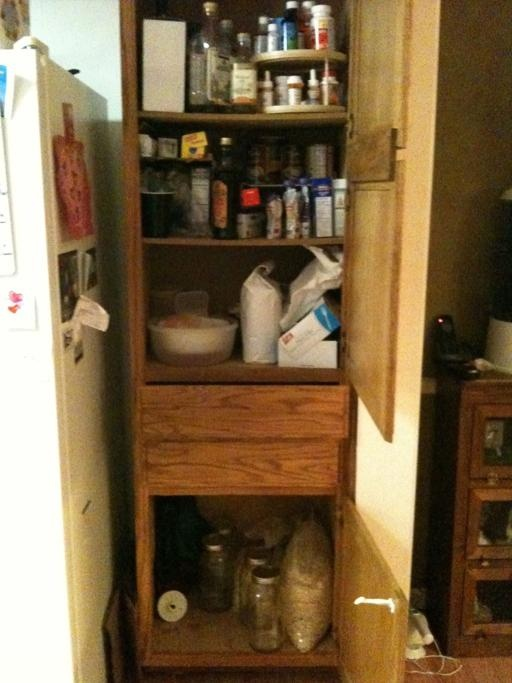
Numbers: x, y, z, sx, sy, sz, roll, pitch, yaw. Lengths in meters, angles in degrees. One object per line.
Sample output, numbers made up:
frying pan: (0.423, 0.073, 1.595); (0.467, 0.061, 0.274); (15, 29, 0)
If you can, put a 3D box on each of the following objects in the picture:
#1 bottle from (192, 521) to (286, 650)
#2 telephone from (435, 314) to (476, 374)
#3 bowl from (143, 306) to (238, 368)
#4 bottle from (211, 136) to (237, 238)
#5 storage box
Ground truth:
bottle: (-0.052, 0.725, 1.969); (0.208, 0.183, 0.303); (0, 9, -3)
telephone: (0.611, 0.010, 2.001); (0.120, 0.062, 0.185); (-5, 28, 3)
bowl: (-0.175, -0.007, 1.850); (0.274, 0.110, 0.267); (1, 12, 0)
bottle: (-0.085, -0.402, 1.726); (0.069, 0.253, 0.125); (-1, 13, -3)
storage box: (-0.229, -0.682, 1.620); (0.108, 0.216, 0.028); (-3, 14, -11)
